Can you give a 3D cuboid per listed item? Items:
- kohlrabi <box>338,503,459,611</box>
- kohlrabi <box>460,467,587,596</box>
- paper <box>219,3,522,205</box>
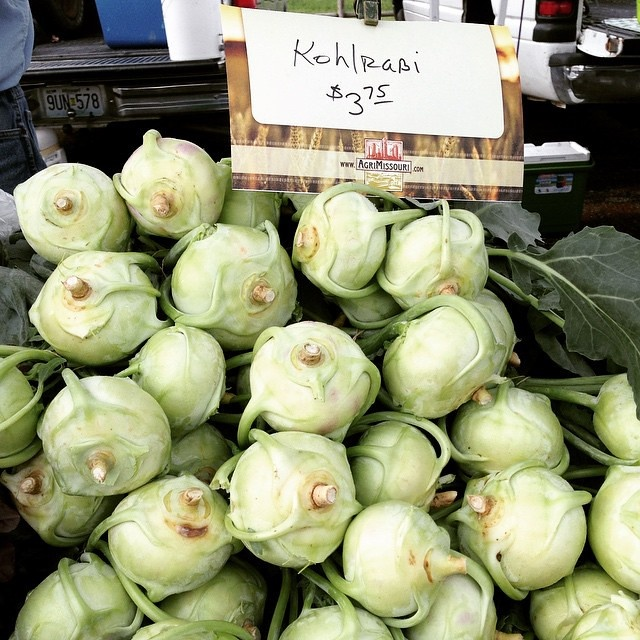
[{"bbox_3d":[0.131,0.392,1.056,0.162,0.190,0.177,-35,57,8],"label":"kohlrabi"},{"bbox_3d":[0.388,0.390,1.135,0.237,0.263,0.226,-18,59,10],"label":"kohlrabi"},{"bbox_3d":[0.125,-0.514,1.448,0.628,0.402,0.079,0,-2,-8],"label":"paper"}]
